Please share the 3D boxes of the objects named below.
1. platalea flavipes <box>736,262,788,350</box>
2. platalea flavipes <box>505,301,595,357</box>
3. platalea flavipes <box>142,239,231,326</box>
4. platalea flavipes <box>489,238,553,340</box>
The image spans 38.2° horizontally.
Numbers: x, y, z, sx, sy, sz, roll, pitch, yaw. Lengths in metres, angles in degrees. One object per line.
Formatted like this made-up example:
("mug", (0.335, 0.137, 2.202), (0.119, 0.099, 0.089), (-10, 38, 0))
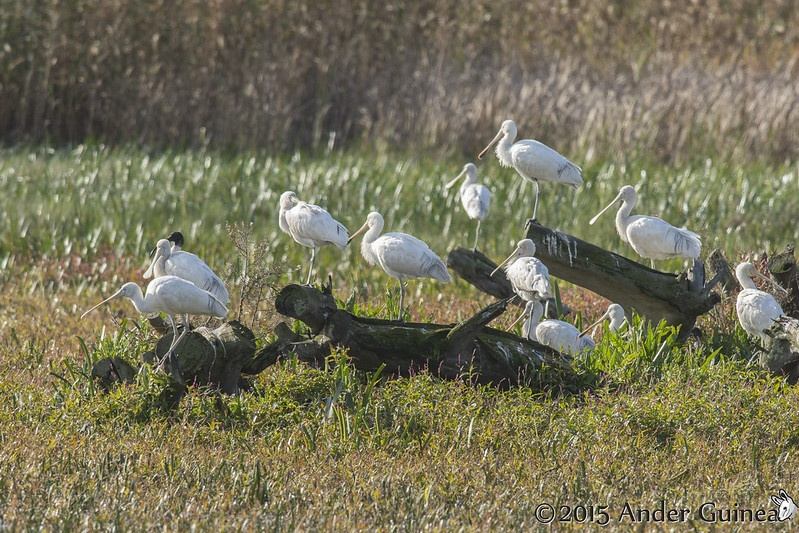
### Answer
("platalea flavipes", (5.181, 0.497, 16.520), (0.827, 1.223, 0.550), (31, 65, 24))
("platalea flavipes", (2.341, 0.995, 16.806), (1.205, 0.948, 0.637), (6, 2, 20))
("platalea flavipes", (-3.043, 0.003, 16.546), (1.505, 1.147, 0.647), (7, 5, 21))
("platalea flavipes", (1.799, 0.313, 16.935), (0.452, 1.467, 1.363), (4, -5, -33))
